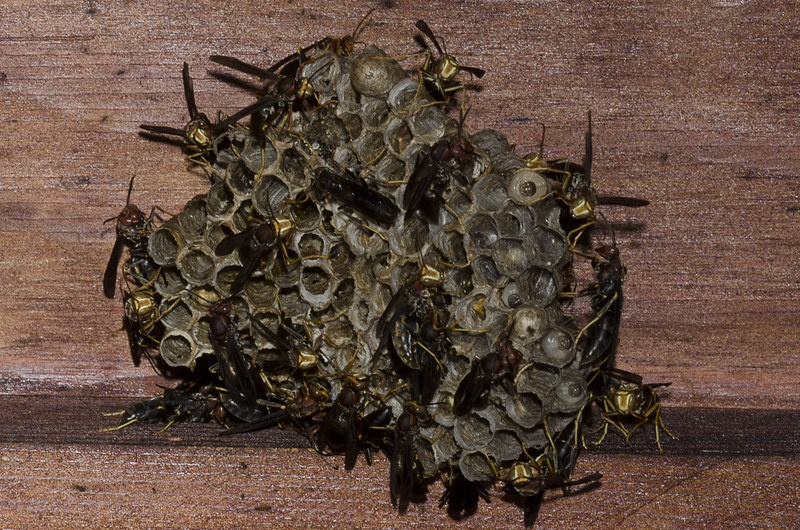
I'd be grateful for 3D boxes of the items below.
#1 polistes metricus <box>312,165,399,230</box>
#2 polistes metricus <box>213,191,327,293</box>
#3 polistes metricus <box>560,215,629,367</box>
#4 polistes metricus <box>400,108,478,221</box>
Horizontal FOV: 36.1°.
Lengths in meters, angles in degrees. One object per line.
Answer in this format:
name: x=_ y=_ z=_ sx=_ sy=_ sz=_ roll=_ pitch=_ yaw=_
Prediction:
polistes metricus: x=-0.189 y=-0.313 z=5.490 sx=0.357 sy=0.235 sz=0.105 roll=29 pitch=6 yaw=1
polistes metricus: x=-0.631 y=-0.111 z=5.551 sx=0.122 sy=0.447 sz=0.296 roll=60 pitch=1 yaw=28
polistes metricus: x=0.929 y=0.130 z=5.643 sx=0.232 sy=0.588 sz=0.472 roll=-5 pitch=-10 yaw=20
polistes metricus: x=0.156 y=-0.436 z=5.441 sx=0.133 sy=0.406 sz=0.289 roll=12 pitch=34 yaw=-48
